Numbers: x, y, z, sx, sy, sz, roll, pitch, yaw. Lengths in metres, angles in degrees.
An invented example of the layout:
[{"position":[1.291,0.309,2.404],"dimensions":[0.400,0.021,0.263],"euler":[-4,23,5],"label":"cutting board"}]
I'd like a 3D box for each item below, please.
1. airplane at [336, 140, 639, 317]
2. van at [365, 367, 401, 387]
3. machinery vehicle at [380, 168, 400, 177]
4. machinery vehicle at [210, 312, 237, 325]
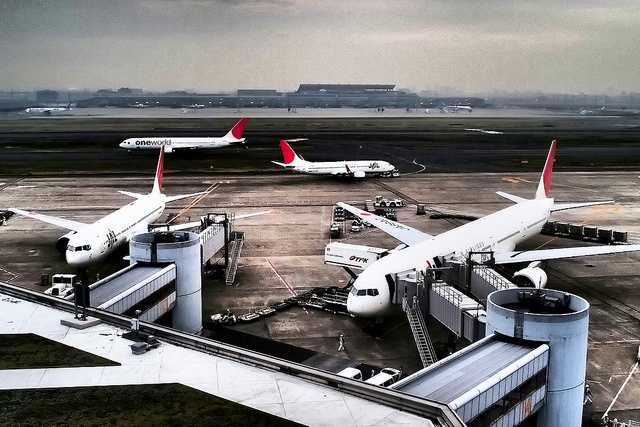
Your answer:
[{"position":[21.480,0.827,76.308],"dimensions":[27.282,7.821,30.443],"euler":[6,14,37],"label":"airplane"},{"position":[3.730,9.467,34.830],"dimensions":[1.102,0.941,3.555],"euler":[7,-5,22],"label":"van"},{"position":[14.401,-8.267,122.989],"dimensions":[2.894,0.907,2.022],"euler":[4,9,28],"label":"machinery vehicle"},{"position":[-8.213,9.014,51.428],"dimensions":[1.645,0.596,1.008],"euler":[0,10,-3],"label":"machinery vehicle"}]
